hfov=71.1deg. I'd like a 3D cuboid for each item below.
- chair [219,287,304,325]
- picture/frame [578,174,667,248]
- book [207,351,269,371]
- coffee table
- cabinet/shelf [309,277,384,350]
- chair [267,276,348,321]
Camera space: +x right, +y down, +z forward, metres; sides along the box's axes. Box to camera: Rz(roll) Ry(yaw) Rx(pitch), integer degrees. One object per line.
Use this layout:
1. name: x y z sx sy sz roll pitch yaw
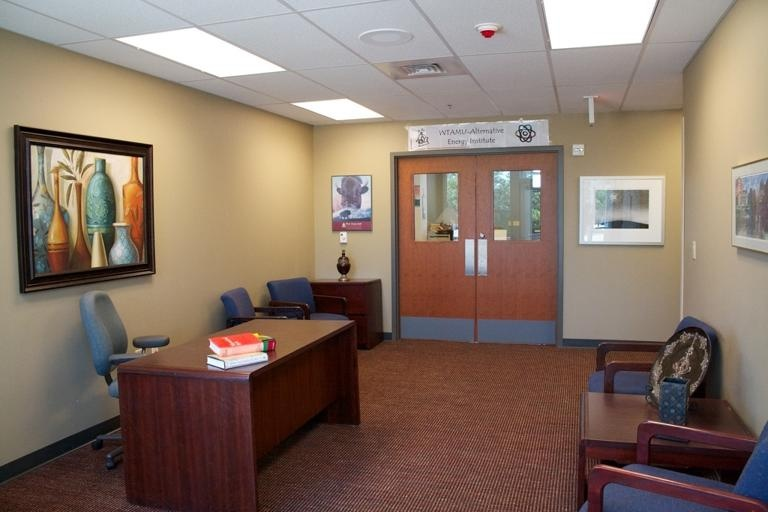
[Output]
1. chair: -1.550 0.652 6.787 0.709 0.793 0.541 0 2 11
2. picture/frame: 3.504 -0.681 7.761 1.084 0.942 0.070 0 -1 10
3. book: -1.143 0.801 4.209 0.473 0.084 0.198 -3 9 -16
4. coffee table: 2.059 1.270 4.081 1.015 0.952 1.037 0 2 19
5. cabinet/shelf: -0.599 0.868 8.461 1.026 0.969 0.730 0 2 16
6. chair: -1.101 0.564 7.634 0.795 0.884 0.672 0 3 25
